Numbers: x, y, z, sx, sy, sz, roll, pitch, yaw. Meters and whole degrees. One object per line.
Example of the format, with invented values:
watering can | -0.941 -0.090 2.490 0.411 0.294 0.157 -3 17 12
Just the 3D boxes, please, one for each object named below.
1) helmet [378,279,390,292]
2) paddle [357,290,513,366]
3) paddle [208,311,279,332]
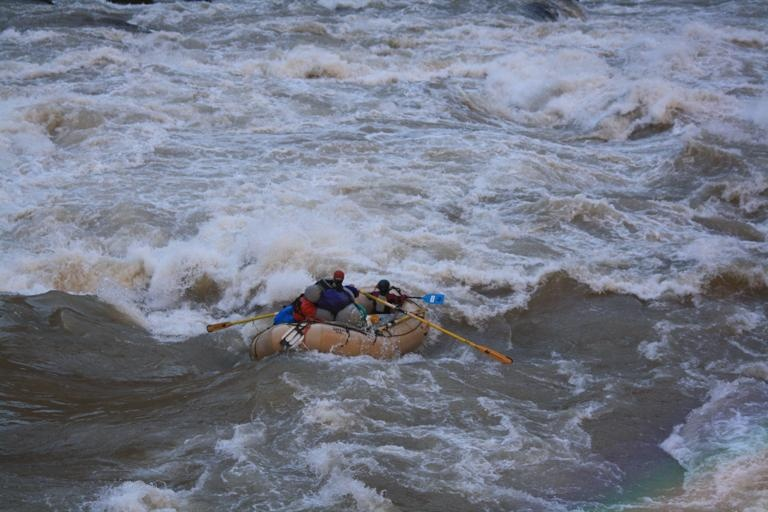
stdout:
helmet | -0.037 0.865 40.753 0.302 0.216 0.364 5 26 -3
paddle | 1.316 2.176 40.528 5.051 0.477 0.221 21 31 2
paddle | -4.038 1.915 40.786 2.343 0.162 0.223 -12 81 22
